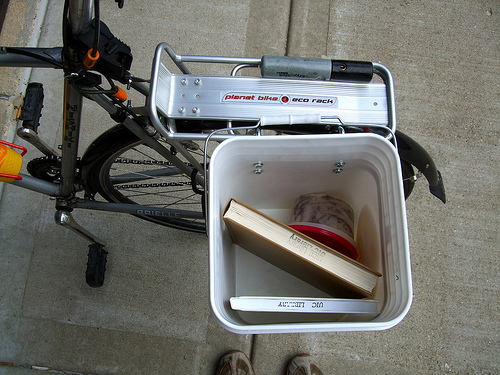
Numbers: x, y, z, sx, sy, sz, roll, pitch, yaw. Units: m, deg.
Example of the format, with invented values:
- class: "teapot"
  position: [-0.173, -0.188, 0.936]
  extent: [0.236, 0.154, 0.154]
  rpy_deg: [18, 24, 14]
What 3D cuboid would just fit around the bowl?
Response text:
- class: "bowl"
  position: [0.268, 0.166, 2.031]
  extent: [0.297, 0.303, 0.230]
  rpy_deg: [-5, 101, -23]
